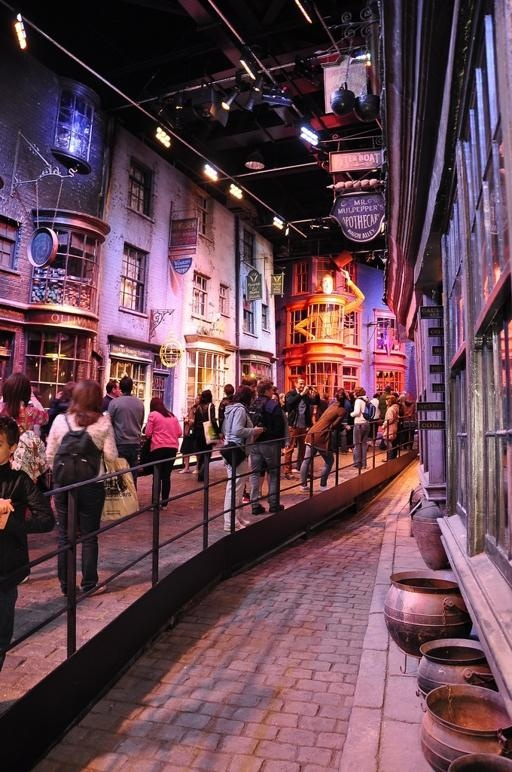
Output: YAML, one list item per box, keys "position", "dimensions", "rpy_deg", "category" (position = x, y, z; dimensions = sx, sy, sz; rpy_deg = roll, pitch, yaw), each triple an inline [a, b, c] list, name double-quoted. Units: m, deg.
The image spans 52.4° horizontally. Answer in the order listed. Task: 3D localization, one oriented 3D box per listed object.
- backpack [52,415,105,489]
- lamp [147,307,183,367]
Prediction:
- position: [-1.382, 0.509, 4.006]
  dimensions: [0.374, 0.555, 0.309]
  rpy_deg: [-9, -39, -12]
  category: "backpack"
- position: [-2.594, -1.396, 14.750]
  dimensions: [0.482, 1.707, 1.105]
  rpy_deg: [-5, -6, 31]
  category: "lamp"
